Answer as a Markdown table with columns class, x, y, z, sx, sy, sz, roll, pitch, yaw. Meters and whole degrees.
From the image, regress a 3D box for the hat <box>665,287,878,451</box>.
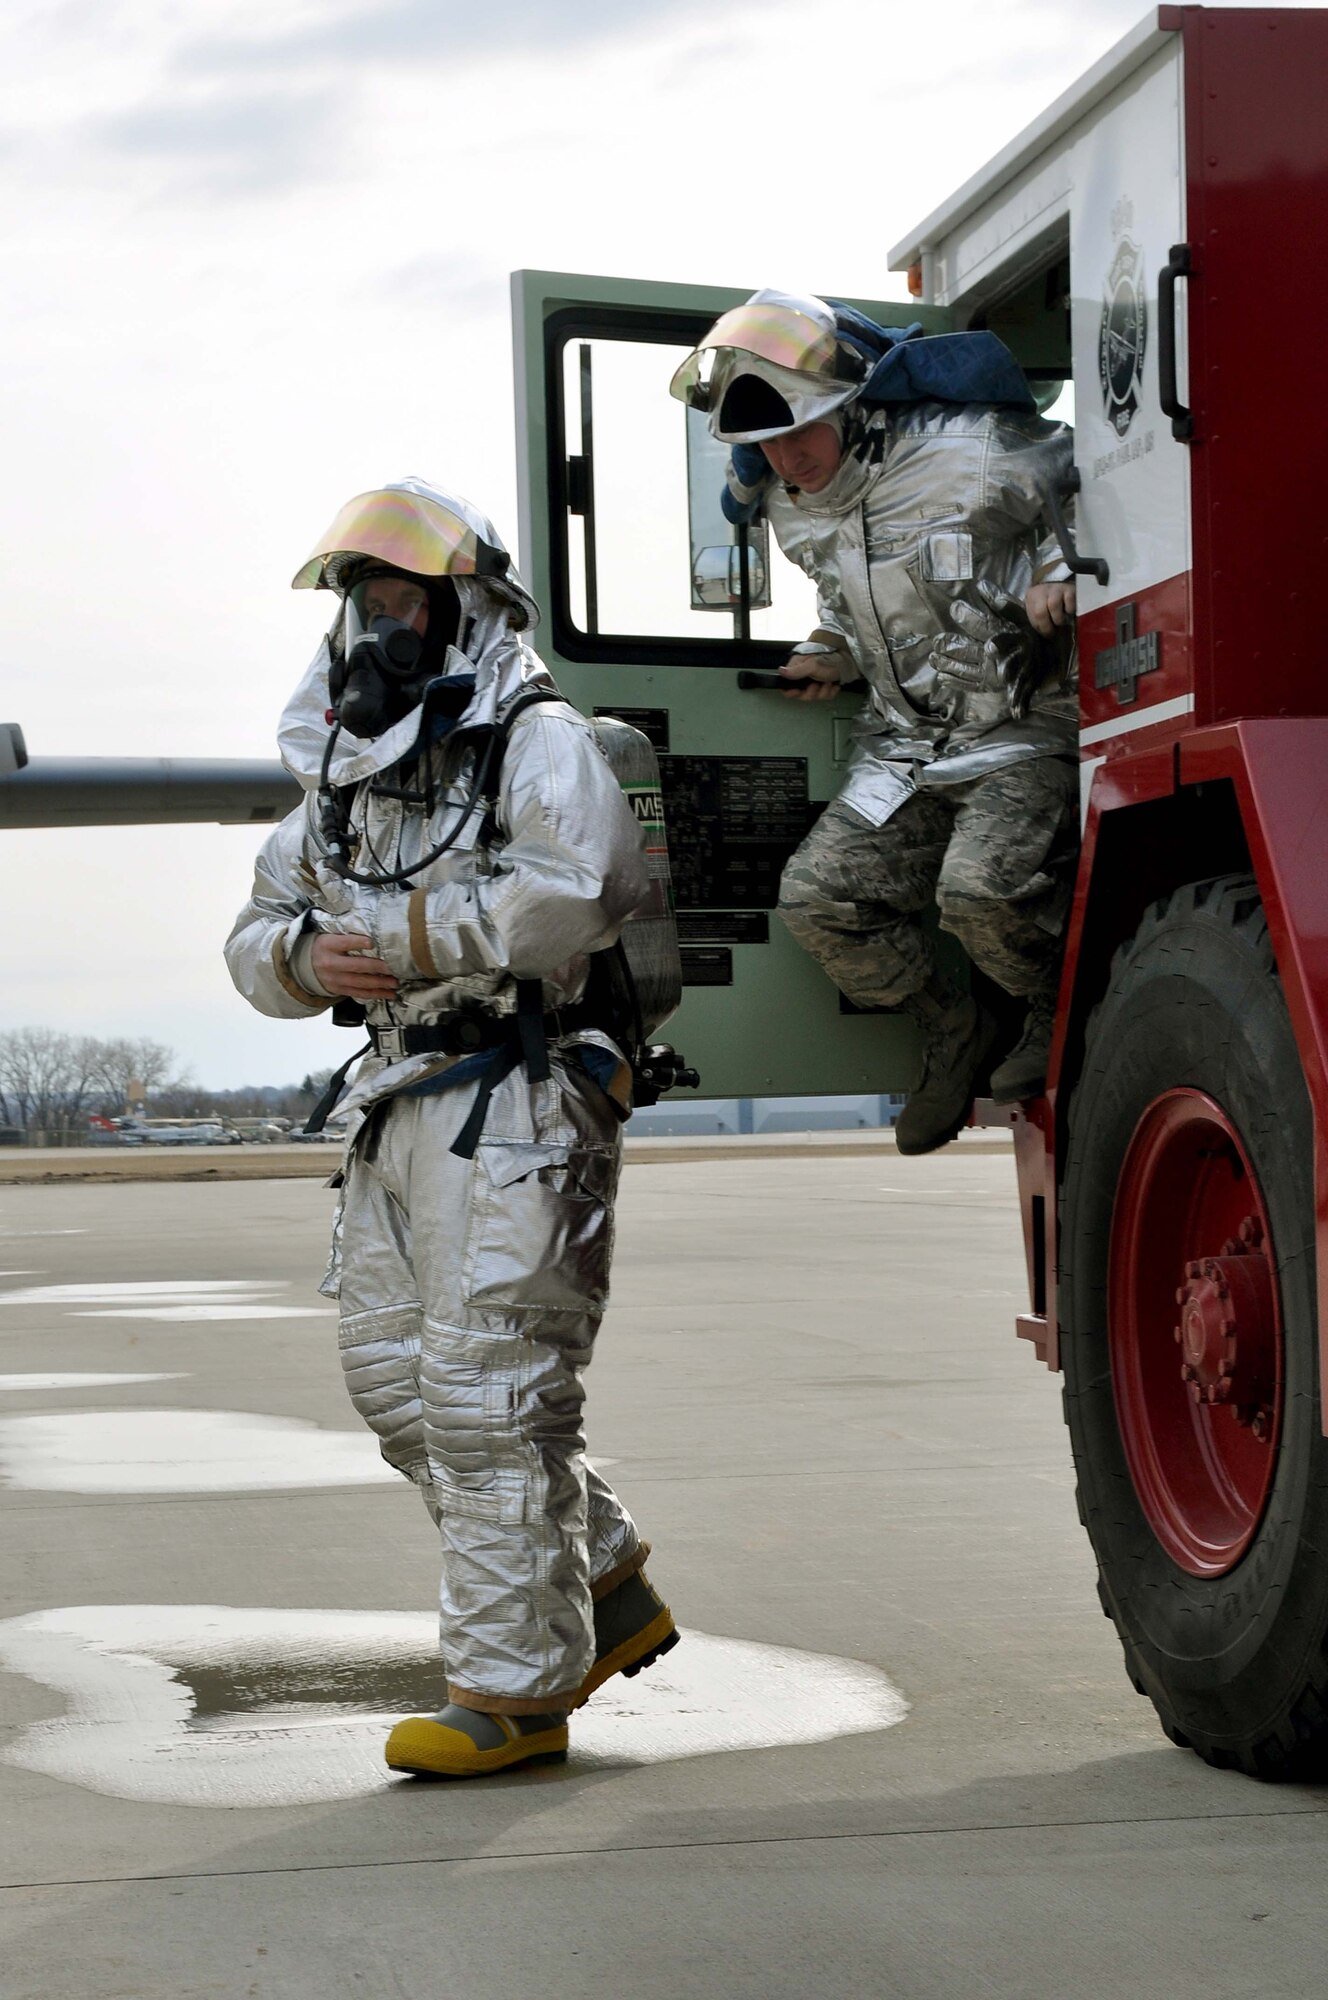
| class | x | y | z | sx | sy | sz | roll | pitch | yaw |
| --- | --- | --- | --- | --- | --- | --- | --- | --- | --- |
| hat | 0.217 | -1.141 | 3.835 | 0.332 | 0.271 | 0.356 | 5 | 6 | 32 |

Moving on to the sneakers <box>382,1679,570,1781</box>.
| class | x | y | z | sx | sy | sz | roll | pitch | yaw |
| --- | --- | --- | --- | --- | --- | --- | --- | --- | --- |
| sneakers | -0.257 | 0.995 | 2.861 | 0.262 | 0.095 | 0.098 | 7 | -9 | -30 |
